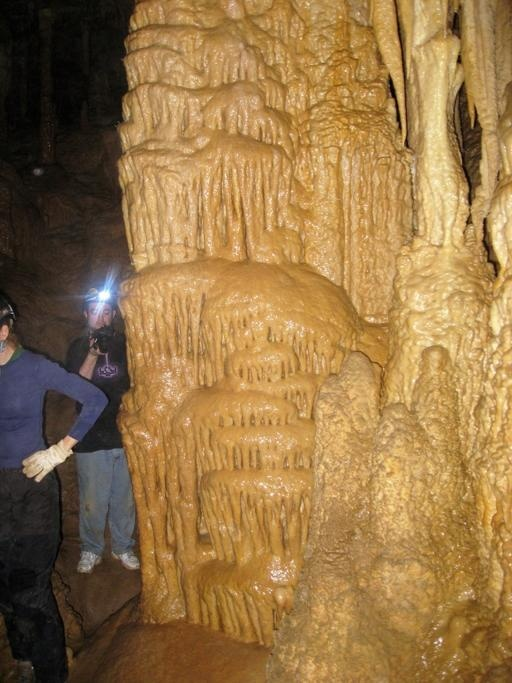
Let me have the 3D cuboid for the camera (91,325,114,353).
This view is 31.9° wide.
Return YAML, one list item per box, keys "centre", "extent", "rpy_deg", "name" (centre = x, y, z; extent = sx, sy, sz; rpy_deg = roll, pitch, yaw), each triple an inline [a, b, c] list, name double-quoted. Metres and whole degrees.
- centre: [-0.970, -0.012, 5.615]
  extent: [0.111, 0.181, 0.099]
  rpy_deg: [14, 22, -16]
  name: "camera"

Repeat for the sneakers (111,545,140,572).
- centre: [-0.861, 1.476, 6.062]
  extent: [0.233, 0.112, 0.096]
  rpy_deg: [28, -12, 28]
  name: "sneakers"

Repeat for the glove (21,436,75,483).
- centre: [-1.062, 0.631, 4.650]
  extent: [0.335, 0.100, 0.171]
  rpy_deg: [-35, 45, -3]
  name: "glove"
